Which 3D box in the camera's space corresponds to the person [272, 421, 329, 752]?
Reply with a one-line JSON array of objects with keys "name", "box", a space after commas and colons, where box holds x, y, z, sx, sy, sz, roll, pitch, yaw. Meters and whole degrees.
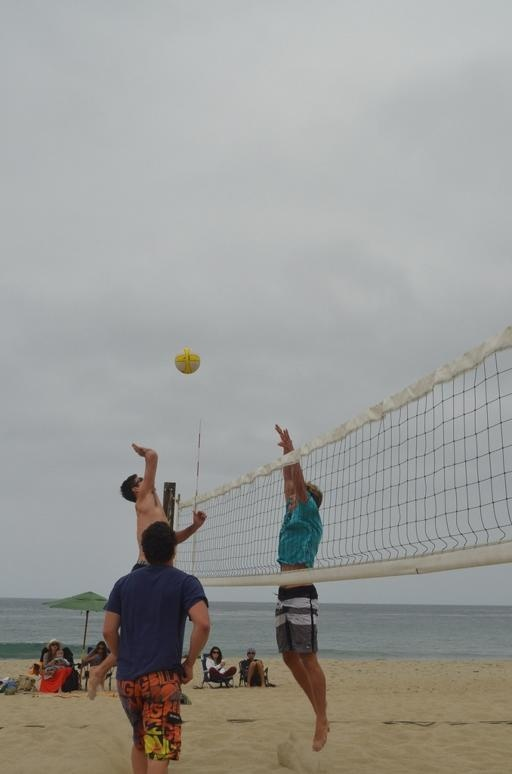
[{"name": "person", "box": [0.248, 1.119, 4.733, 0.292, 1.879, 0.643, -2, -11, 4]}]

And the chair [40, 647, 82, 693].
[{"name": "chair", "box": [-2.340, 3.282, 9.836, 0.392, 0.666, 0.298, -20, -27, 30]}]

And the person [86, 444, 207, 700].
[{"name": "person", "box": [-0.557, 1.032, 4.511, 0.570, 1.451, 0.556, -22, -30, 29]}]

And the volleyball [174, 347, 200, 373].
[{"name": "volleyball", "box": [-0.597, -0.219, 7.319, 0.184, 0.300, 0.491, 0, -12, -7]}]

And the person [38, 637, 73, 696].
[{"name": "person", "box": [-2.343, 3.254, 9.830, 0.368, 0.544, 0.943, 1, -12, -14]}]
